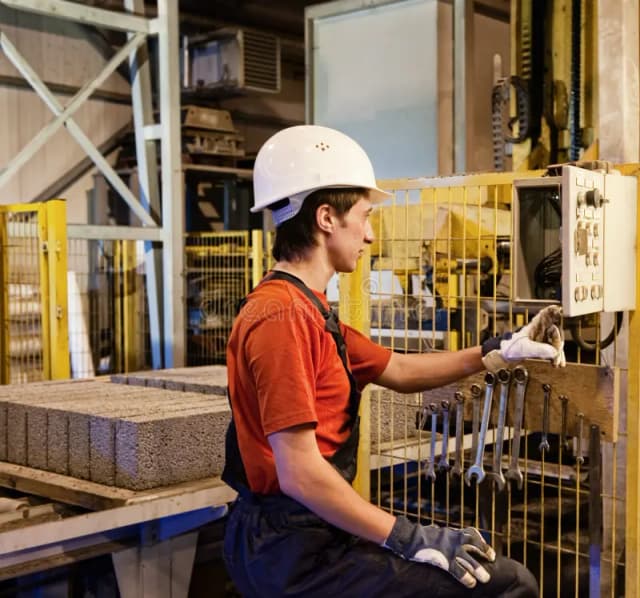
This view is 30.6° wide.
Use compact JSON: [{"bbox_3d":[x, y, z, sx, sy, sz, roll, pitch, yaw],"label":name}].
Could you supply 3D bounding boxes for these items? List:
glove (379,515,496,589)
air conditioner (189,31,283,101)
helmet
[{"bbox_3d":[0.405,0.842,3.964,0.309,0.147,0.228,10,23,2],"label":"glove"},{"bbox_3d":[-0.725,-1.963,9.747,0.875,0.560,0.462,-3,-1,43],"label":"air conditioner"},{"bbox_3d":[-0.033,-0.488,4.239,0.348,0.253,0.302,-11,3,-11],"label":"helmet"}]
